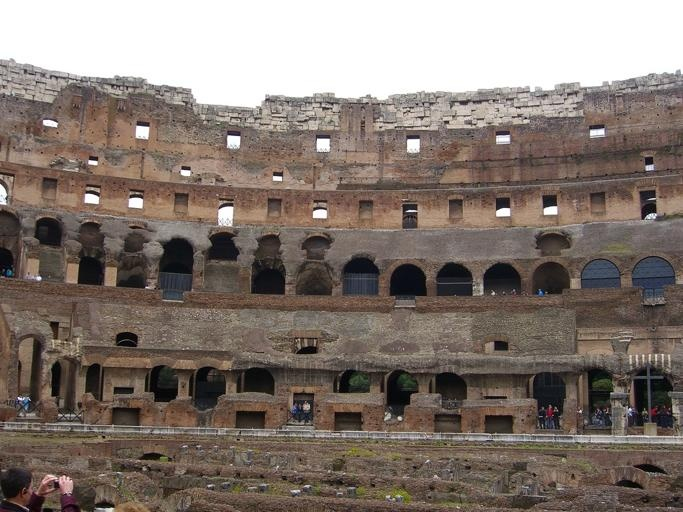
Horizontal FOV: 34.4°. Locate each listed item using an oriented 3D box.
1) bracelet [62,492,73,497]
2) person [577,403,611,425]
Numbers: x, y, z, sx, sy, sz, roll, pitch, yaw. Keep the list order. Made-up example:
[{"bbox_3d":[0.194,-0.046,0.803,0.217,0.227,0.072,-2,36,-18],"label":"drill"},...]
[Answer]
[{"bbox_3d":[-7.763,6.782,31.304,0.353,0.098,0.315,1,-5,5],"label":"bracelet"},{"bbox_3d":[12.736,8.123,55.125,1.616,0.468,1.521,-5,-3,25],"label":"person"}]
